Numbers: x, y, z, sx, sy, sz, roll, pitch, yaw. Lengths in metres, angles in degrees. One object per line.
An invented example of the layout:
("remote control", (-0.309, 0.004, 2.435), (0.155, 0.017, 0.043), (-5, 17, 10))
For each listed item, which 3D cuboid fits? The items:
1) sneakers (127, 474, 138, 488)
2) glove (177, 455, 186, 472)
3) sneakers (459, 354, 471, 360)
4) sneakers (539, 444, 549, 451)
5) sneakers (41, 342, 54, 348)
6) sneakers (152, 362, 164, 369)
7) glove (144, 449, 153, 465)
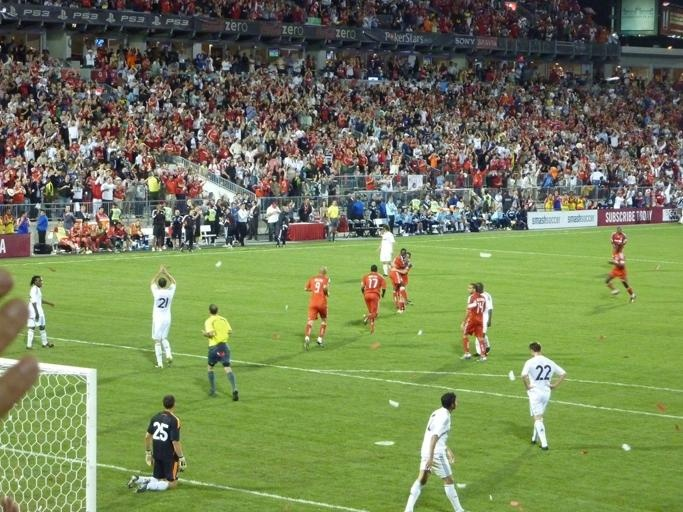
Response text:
("sneakers", (-5.356, 5.705, 28.727), (0.150, 0.229, 0.443), (11, 31, 1))
("glove", (-4.163, 5.336, 28.825), (0.248, 0.341, 0.349), (1, -3, -11))
("sneakers", (4.117, 3.322, 37.165), (0.129, 0.189, 0.378), (-20, 21, -41))
("sneakers", (5.583, 5.244, 30.815), (0.238, 0.159, 0.243), (0, 4, 14))
("sneakers", (-9.781, 2.960, 37.127), (0.333, 0.156, 0.127), (-4, 13, -8))
("sneakers", (-5.835, 3.485, 35.768), (0.256, 0.207, 0.453), (-1, 4, -9))
("glove", (-5.074, 5.294, 29.386), (0.309, 0.415, 0.416), (1, 12, -8))
